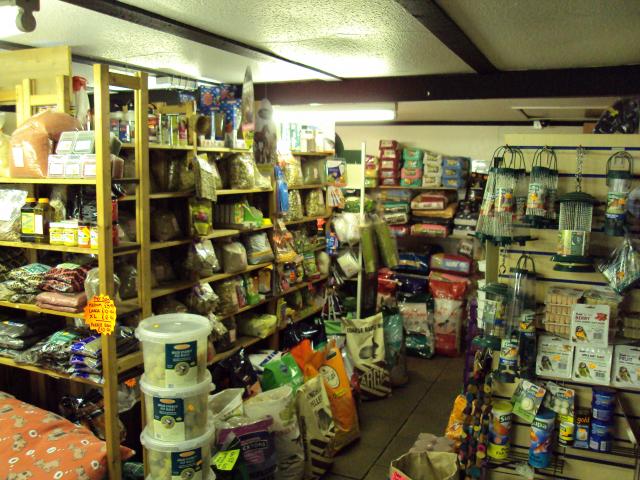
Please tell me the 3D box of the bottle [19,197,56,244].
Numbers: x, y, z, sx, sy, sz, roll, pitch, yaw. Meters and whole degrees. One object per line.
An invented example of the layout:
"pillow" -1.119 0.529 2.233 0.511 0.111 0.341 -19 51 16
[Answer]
"bottle" -1.833 -0.130 3.168 0.282 0.276 0.112 5 9 23

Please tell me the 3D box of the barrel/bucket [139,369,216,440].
"barrel/bucket" -0.799 0.898 2.769 0.357 0.252 0.353 1 2 0

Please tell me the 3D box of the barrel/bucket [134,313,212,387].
"barrel/bucket" -0.816 0.587 2.771 0.380 0.276 0.396 1 6 0
